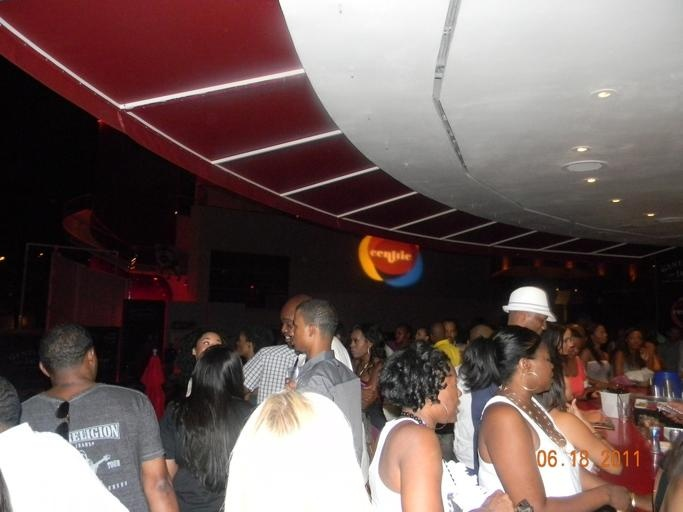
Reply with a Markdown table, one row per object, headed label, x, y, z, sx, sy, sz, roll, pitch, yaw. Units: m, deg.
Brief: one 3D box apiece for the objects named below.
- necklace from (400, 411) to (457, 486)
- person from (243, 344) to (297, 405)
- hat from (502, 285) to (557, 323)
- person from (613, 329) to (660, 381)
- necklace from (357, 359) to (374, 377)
| label | x | y | z | sx | sy | sz | roll | pitch | yaw |
| --- | --- | --- | --- | --- | --- | --- | --- | --- | --- |
| necklace | 0.442 | 0.927 | 2.208 | 0.096 | 0.368 | 0.196 | -13 | -25 | -29 |
| person | -0.598 | 1.038 | 4.159 | 0.740 | 0.257 | 0.614 | 17 | -13 | -6 |
| hat | 1.652 | 0.421 | 4.054 | 0.388 | 0.235 | 0.320 | 1 | -4 | 0 |
| person | 4.353 | 1.497 | 6.800 | 0.652 | 0.770 | 0.449 | 1 | -11 | -6 |
| necklace | 0.250 | 1.330 | 5.404 | 0.197 | 0.201 | 0.158 | 10 | 2 | -6 |
